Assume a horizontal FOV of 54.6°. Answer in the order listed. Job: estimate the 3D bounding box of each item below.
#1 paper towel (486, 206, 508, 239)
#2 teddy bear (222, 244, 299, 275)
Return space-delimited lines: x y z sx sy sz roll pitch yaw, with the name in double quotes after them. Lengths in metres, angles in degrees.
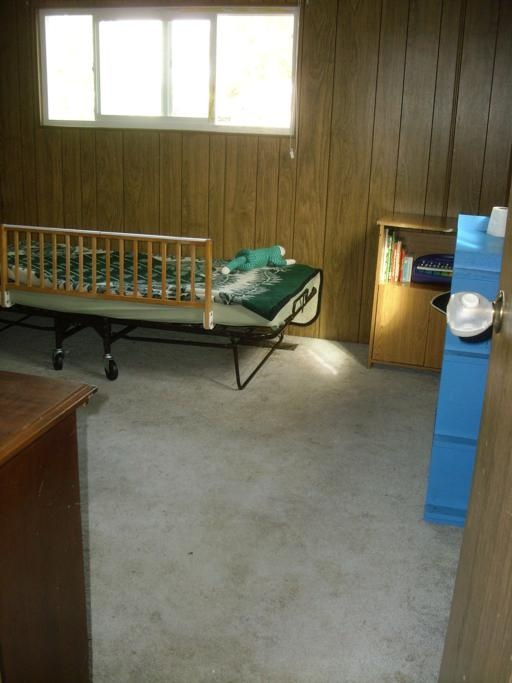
0.947 -0.470 1.950 0.056 0.114 0.321 7 16 22 "paper towel"
-0.004 -0.632 3.684 0.542 0.190 0.224 -18 23 -38 "teddy bear"
